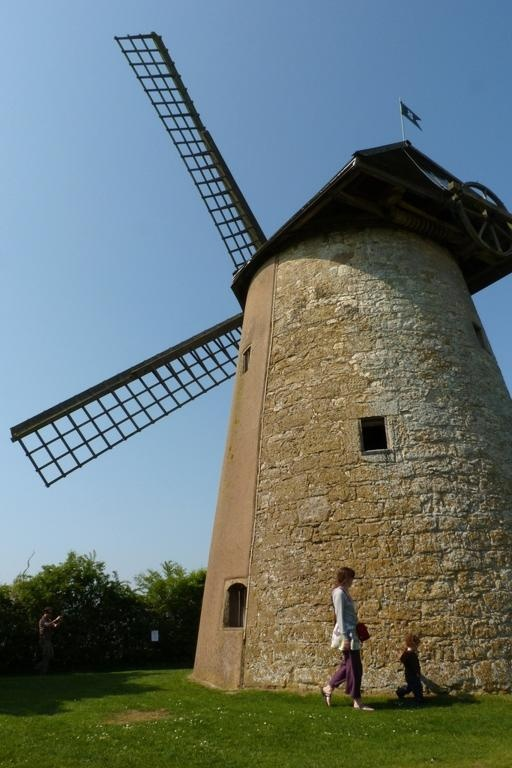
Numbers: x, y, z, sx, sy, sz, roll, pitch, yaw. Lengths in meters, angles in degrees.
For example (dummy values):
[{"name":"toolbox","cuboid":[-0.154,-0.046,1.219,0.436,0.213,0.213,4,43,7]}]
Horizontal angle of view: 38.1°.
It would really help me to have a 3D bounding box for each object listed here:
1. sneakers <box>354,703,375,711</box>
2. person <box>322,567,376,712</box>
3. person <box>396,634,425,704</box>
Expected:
[{"name":"sneakers","cuboid":[1.179,3.520,8.141,0.215,0.079,0.074,-5,-31,12]},{"name":"person","cuboid":[0.995,2.862,8.423,0.539,1.580,1.259,-3,-11,4]},{"name":"person","cuboid":[1.784,3.318,8.782,0.316,0.723,0.520,-4,-11,9]}]
